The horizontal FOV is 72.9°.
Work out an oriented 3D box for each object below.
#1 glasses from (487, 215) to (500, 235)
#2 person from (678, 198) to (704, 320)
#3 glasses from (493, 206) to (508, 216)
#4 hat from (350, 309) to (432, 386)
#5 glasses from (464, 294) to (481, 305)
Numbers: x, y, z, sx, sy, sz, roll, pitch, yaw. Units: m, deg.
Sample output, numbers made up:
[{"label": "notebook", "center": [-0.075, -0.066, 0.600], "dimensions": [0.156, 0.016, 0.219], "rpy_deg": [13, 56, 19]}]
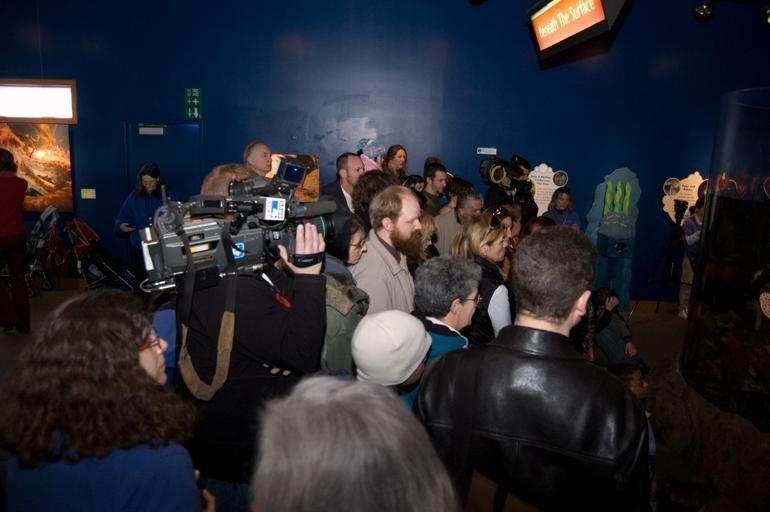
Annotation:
[{"label": "glasses", "center": [0.770, -0.214, 3.697], "dimensions": [0.077, 0.113, 0.026], "rpy_deg": [21, 5, 43]}, {"label": "person", "center": [4.040, 0.034, 6.996], "dimensions": [0.215, 1.574, 0.922], "rpy_deg": [6, 14, 28]}, {"label": "glasses", "center": [0.960, -0.376, 4.378], "dimensions": [0.094, 0.041, 0.113], "rpy_deg": [1, 16, 10]}, {"label": "hat", "center": [0.045, 0.439, 2.588], "dimensions": [0.340, 0.298, 0.341], "rpy_deg": [-8, 33, 8]}, {"label": "glasses", "center": [0.487, 0.241, 2.964], "dimensions": [0.102, 0.036, 0.099], "rpy_deg": [-2, 0, 36]}]
